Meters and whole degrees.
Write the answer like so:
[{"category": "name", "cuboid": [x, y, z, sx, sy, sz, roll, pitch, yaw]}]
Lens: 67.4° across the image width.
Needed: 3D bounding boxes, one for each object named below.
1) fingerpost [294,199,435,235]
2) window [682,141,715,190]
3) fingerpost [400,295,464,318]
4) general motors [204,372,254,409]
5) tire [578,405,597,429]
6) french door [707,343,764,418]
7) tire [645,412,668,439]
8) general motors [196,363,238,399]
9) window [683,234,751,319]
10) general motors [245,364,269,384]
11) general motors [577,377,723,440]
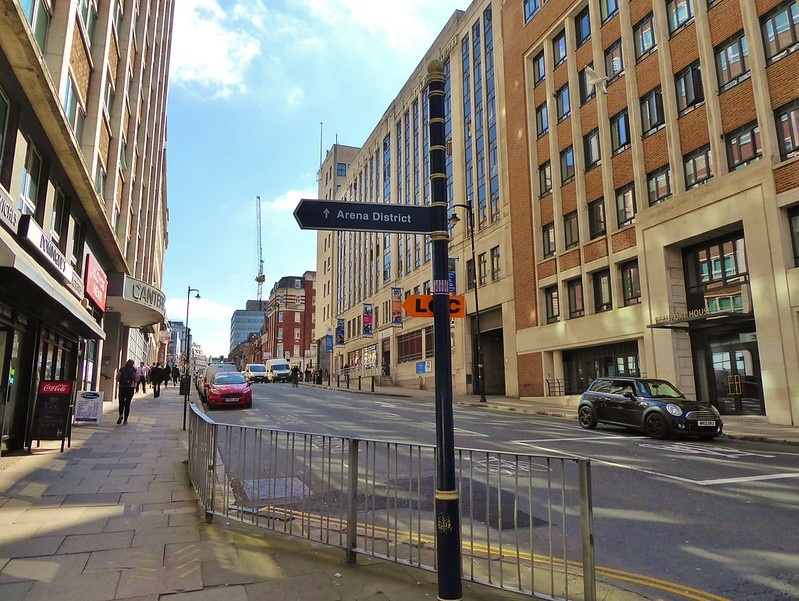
[{"category": "fingerpost", "cuboid": [-0.399, -1.100, 7.830, 1.929, 0.505, 0.293, 0, -12, -1]}, {"category": "window", "cuboid": [11.982, -5.421, 23.921, 1.631, 1.764, 0.140, -17, 9, -8]}, {"category": "fingerpost", "cuboid": [0.431, 0.050, 7.822, 0.800, 0.384, 0.476, 1, -13, -6]}, {"category": "general motors", "cuboid": [-7.151, 3.735, 25.130, 1.642, 1.586, 1.906, 5, -14, -22]}, {"category": "tire", "cuboid": [5.979, 3.697, 19.053, 0.204, 0.586, 0.566, 7, -35, -23]}, {"category": "french door", "cuboid": [12.327, 2.926, 21.888, 0.406, 3.605, 2.330, 2, -7, -13]}, {"category": "tire", "cuboid": [7.120, 3.452, 16.605, 0.222, 0.704, 0.654, 5, -8, -17]}, {"category": "general motors", "cuboid": [-9.284, 3.813, 30.240, 1.549, 1.595, 2.753, 3, -12, -17]}, {"category": "window", "cuboid": [12.246, -0.758, 22.912, 2.807, 3.119, 0.125, -11, -13, -22]}, {"category": "general motors", "cuboid": [-13.182, 6.716, 55.242, 1.430, 1.360, 2.645, 2, -14, -19]}, {"category": "general motors", "cuboid": [7.225, 3.113, 17.724, 1.364, 1.918, 3.741, 7, -15, -29]}]
